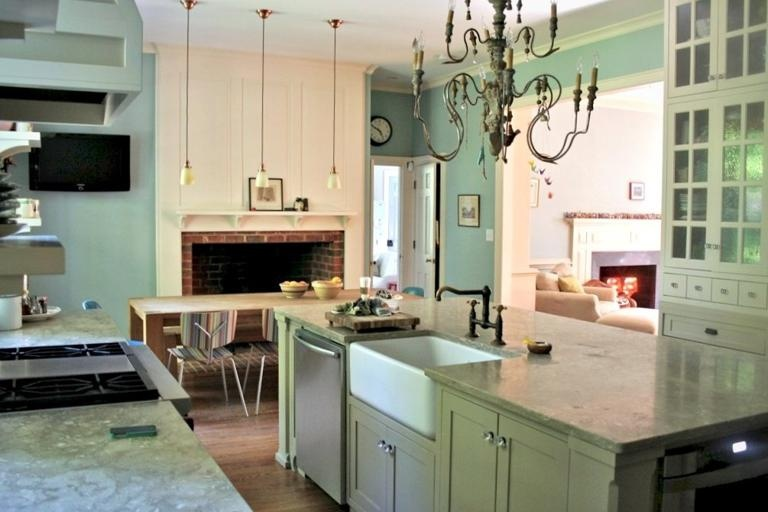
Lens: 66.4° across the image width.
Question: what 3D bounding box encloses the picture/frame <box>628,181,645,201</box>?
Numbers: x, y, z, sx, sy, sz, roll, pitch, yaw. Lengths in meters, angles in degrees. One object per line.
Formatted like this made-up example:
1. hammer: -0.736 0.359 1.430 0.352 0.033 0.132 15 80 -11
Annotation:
1. picture/frame: 4.044 -1.048 9.461 0.333 0.275 0.043 -2 3 -30

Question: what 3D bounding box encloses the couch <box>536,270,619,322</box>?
1. couch: 2.455 0.557 7.637 0.943 0.773 0.870 -2 1 31

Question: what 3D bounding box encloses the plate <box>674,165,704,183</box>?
1. plate: 2.273 -0.597 4.370 0.104 0.114 0.188 -3 4 -24

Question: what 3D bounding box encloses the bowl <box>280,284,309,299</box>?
1. bowl: -0.896 0.346 5.870 0.195 0.081 0.188 -1 1 0

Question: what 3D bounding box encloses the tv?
1. tv: -3.298 -0.998 6.263 1.017 0.659 0.104 0 1 -16

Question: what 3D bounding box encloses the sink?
1. sink: 0.156 0.608 3.207 0.481 0.274 0.672 0 2 -27

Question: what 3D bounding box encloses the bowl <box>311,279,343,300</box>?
1. bowl: -0.560 0.330 5.805 0.227 0.147 0.229 0 -3 0

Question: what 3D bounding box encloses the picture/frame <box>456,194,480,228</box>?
1. picture/frame: 1.084 -0.588 7.561 0.035 0.450 0.452 -5 7 -33

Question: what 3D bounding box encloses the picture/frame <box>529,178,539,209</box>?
1. picture/frame: 2.198 -0.927 8.589 0.178 0.446 0.043 -4 4 -41

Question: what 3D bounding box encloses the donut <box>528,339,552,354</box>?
1. donut: 0.772 0.456 2.931 0.108 0.057 0.106 -2 3 -22

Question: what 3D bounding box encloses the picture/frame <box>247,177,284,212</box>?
1. picture/frame: -1.443 -0.731 7.014 0.480 0.393 0.052 1 -8 -35

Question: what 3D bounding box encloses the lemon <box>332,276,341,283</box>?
1. lemon: -0.475 0.252 5.874 0.086 0.053 0.112 -3 8 -11

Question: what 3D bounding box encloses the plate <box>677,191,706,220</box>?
1. plate: 2.282 -0.374 4.354 0.017 0.217 0.218 -1 5 -31

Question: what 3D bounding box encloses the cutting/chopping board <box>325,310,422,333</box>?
1. cutting/chopping board: -0.073 0.383 3.486 0.560 0.095 0.315 -1 3 1
